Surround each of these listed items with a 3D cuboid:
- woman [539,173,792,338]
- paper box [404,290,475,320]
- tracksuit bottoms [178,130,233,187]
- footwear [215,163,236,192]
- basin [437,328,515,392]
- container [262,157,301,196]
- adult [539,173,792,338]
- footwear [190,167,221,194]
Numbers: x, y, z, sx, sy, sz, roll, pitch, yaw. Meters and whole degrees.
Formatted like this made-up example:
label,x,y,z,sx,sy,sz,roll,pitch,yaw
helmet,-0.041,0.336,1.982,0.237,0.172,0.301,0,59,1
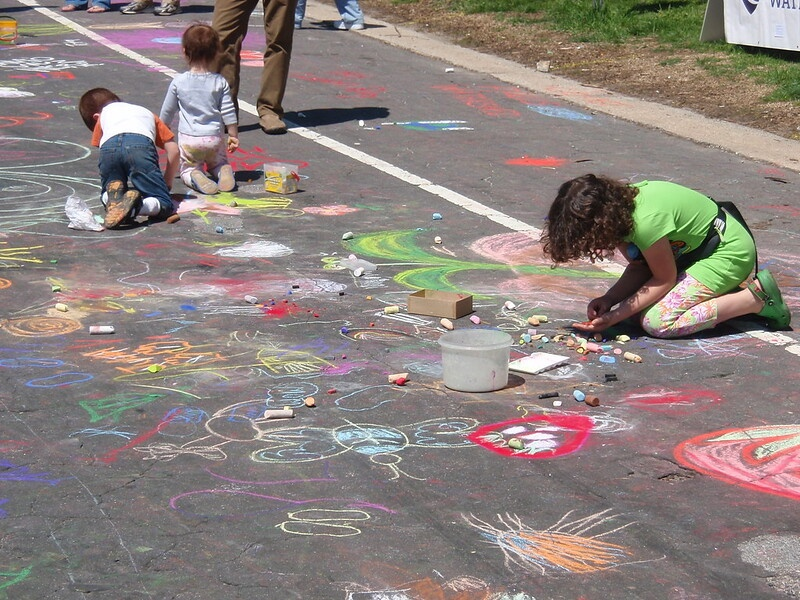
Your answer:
label,x,y,z,sx,sy,sz,roll,pitch,yaw
woman,1.681,-0.258,5.673,1.652,1.026,0.425,2,18,-14
paper box,0.267,0.035,6.024,0.424,0.159,0.277,6,12,12
tracksuit bottoms,-1.798,-1.304,8.365,0.390,0.714,0.347,-6,44,-27
footwear,-1.592,-1.136,8.364,0.221,0.234,0.148,2,2,1
basin,0.449,0.341,5.109,0.608,0.196,0.423,0,7,3
container,-1.121,-1.124,8.391,0.355,0.287,0.302,6,14,1
adult,1.684,-0.258,5.674,1.657,1.026,0.425,2,18,-14
footwear,-1.838,-1.089,8.316,0.348,0.189,0.123,37,-21,11
